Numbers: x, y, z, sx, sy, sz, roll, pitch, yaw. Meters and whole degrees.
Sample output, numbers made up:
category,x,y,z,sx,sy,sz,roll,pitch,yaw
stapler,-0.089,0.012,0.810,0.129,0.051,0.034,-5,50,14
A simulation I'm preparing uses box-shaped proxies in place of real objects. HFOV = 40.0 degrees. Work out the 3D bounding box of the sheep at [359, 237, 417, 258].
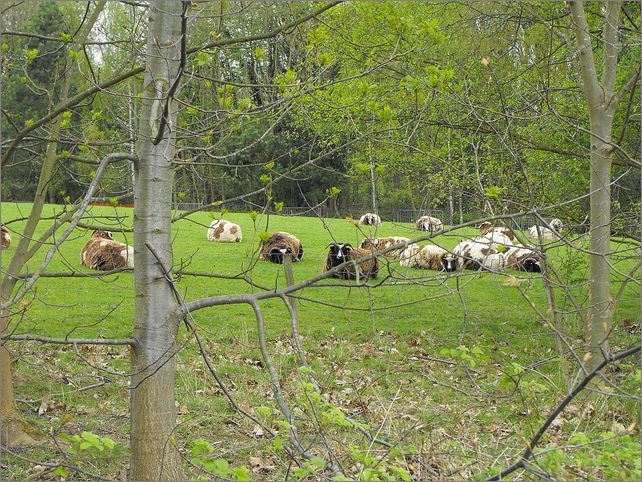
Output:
category,x,y,z,sx,sy,sz,roll,pitch,yaw
sheep,1.339,0.148,17.713,0.395,0.258,0.750,-30,30,-32

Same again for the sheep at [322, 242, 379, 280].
category,x,y,z,sx,sy,sz,roll,pitch,yaw
sheep,0.591,0.528,20.617,0.776,0.672,1.525,-1,-6,9

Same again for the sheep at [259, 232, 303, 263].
category,x,y,z,sx,sy,sz,roll,pitch,yaw
sheep,-1.119,0.200,24.397,0.755,0.680,1.207,-1,1,-3

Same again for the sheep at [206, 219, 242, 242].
category,x,y,z,sx,sy,sz,roll,pitch,yaw
sheep,-3.194,-0.259,27.771,1.126,0.702,1.461,-1,-1,10

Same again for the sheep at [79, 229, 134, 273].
category,x,y,z,sx,sy,sz,roll,pitch,yaw
sheep,-4.702,0.265,19.218,0.718,0.709,1.392,1,10,-28
